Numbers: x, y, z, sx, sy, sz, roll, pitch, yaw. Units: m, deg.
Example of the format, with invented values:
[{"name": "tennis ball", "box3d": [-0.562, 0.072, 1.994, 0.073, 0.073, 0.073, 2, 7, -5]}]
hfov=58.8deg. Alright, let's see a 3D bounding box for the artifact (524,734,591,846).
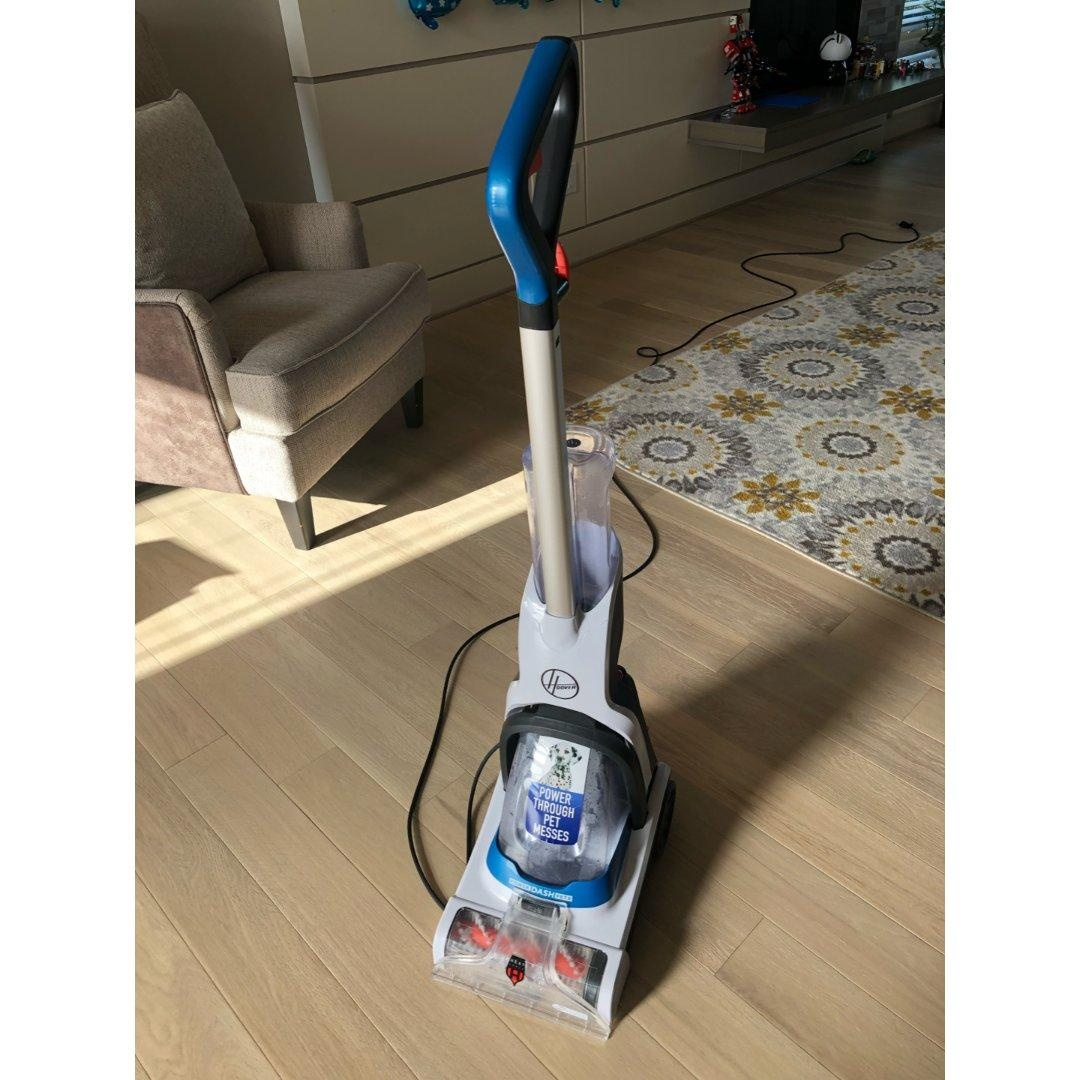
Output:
[{"name": "artifact", "box3d": [0.019, 0.322, 1.222, 0.076, 0.152, 0.060, 8, 36, 18]}]
